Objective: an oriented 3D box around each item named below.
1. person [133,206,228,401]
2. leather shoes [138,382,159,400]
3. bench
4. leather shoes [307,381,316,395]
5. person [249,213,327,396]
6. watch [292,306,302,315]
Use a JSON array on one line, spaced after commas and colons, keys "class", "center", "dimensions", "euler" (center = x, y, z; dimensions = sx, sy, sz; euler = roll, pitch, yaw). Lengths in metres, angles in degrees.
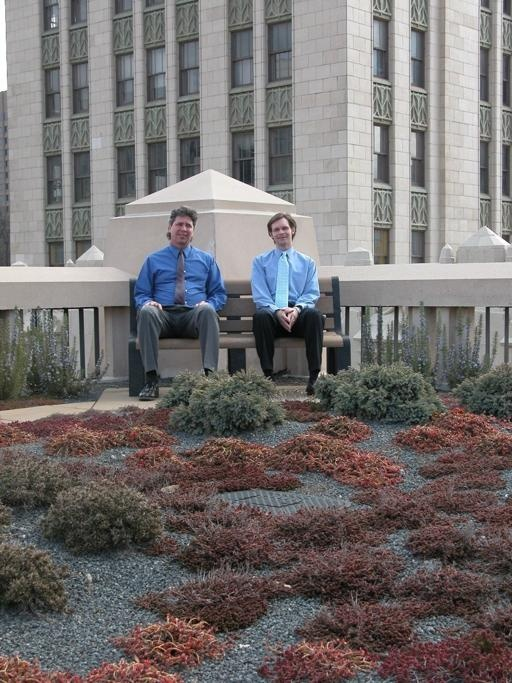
[{"class": "person", "center": [-0.649, -0.372, 6.766], "dimensions": [0.798, 1.626, 1.041], "euler": [-2, 2, -4]}, {"class": "leather shoes", "center": [-0.867, 0.395, 6.452], "dimensions": [0.149, 0.143, 0.187], "euler": [-2, 2, -7]}, {"class": "bench", "center": [-0.128, -0.032, 7.046], "dimensions": [1.790, 1.023, 0.595], "euler": [-1, 4, 2]}, {"class": "leather shoes", "center": [0.434, 0.359, 6.313], "dimensions": [0.070, 0.087, 0.115], "euler": [2, -4, -4]}, {"class": "person", "center": [0.254, -0.367, 6.765], "dimensions": [0.602, 1.543, 0.925], "euler": [-2, 2, 2]}, {"class": "watch", "center": [0.339, -0.276, 6.616], "dimensions": [0.057, 0.043, 0.058], "euler": [2, -1, 25]}]
